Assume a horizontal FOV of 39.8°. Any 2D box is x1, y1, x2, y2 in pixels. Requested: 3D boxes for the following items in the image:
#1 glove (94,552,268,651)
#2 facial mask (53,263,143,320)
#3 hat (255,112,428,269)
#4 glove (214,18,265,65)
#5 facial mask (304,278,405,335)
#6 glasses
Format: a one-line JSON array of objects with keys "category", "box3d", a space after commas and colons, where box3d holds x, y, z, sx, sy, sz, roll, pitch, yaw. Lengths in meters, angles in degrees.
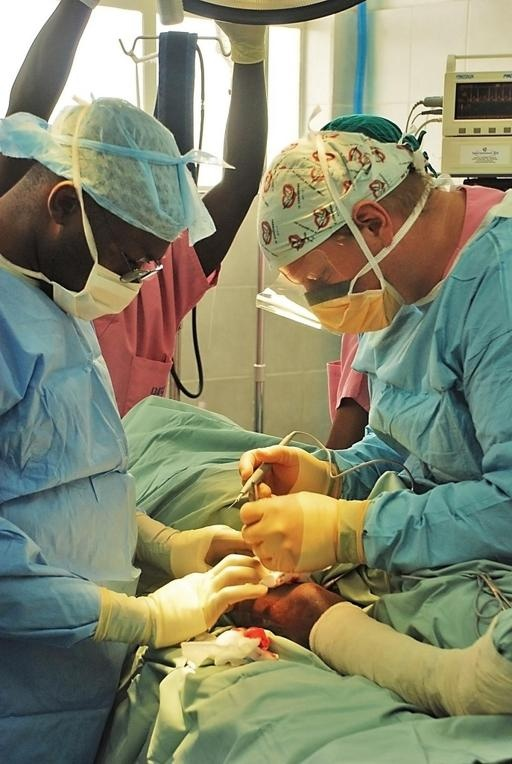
[{"category": "glove", "box3d": [-0.147, 0.424, 1.447, 0.306, 0.097, 0.150, -16, 10, -24]}, {"category": "facial mask", "box3d": [-0.318, -0.171, 1.434, 0.096, 0.112, 0.117, -23, 9, 27]}, {"category": "hat", "box3d": [0.153, -0.400, 1.595, 0.355, 0.198, 0.250, -29, 30, 5]}, {"category": "glove", "box3d": [-0.030, -0.823, 1.688, 0.113, 0.055, 0.294, 3, 7, -2]}, {"category": "facial mask", "box3d": [0.244, -0.159, 1.649, 0.141, 0.075, 0.134, -4, 40, 29]}, {"category": "glasses", "box3d": [-0.249, -0.262, 1.398, 0.125, 0.071, 0.126, 40, 15, 4]}]
